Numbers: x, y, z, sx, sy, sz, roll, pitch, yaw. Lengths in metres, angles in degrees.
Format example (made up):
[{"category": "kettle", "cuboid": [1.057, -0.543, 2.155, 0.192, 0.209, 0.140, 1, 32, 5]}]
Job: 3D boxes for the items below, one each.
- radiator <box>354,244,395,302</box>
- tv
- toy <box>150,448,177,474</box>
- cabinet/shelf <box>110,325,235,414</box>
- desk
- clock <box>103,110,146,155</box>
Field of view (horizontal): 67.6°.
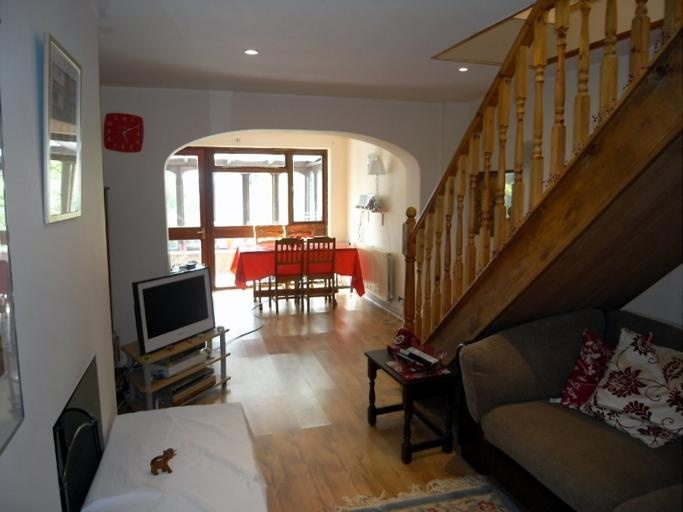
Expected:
[{"category": "radiator", "cuboid": [0.337, 0.135, 7.007, 0.131, 0.682, 1.030, -10, 16, -35]}, {"category": "tv", "cuboid": [-1.272, 0.428, 3.854, 0.068, 0.562, 0.677, -3, 5, 33]}, {"category": "toy", "cuboid": [-0.900, 1.026, 2.570, 0.145, 0.158, 0.068, -1, -1, -25]}, {"category": "cabinet/shelf", "cuboid": [-1.258, 0.903, 3.995, 0.373, 0.545, 0.748, 11, 20, 41]}, {"category": "desk", "cuboid": [0.436, 0.883, 3.562, 0.531, 0.745, 0.830, -4, 10, -20]}, {"category": "clock", "cuboid": [-2.021, -1.158, 4.705, 0.355, 0.393, 0.086, 4, 28, -33]}]
